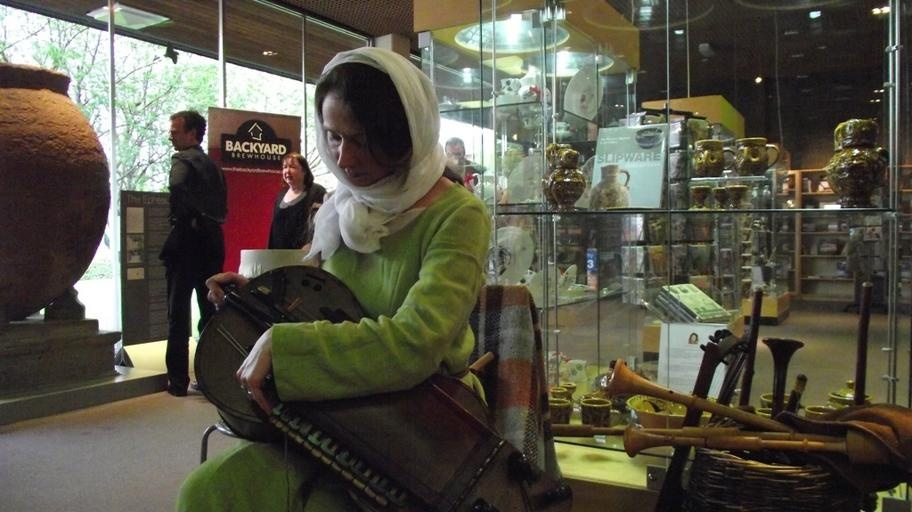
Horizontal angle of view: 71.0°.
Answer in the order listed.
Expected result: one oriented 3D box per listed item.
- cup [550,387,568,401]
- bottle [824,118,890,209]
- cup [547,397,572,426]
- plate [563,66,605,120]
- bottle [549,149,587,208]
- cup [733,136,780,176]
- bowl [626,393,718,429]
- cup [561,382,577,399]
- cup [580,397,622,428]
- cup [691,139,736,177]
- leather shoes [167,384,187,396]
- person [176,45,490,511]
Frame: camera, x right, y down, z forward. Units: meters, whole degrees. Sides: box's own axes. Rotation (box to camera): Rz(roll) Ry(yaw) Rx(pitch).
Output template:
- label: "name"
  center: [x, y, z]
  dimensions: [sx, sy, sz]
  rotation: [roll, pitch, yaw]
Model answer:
- label: "cup"
  center: [0.605, 0.788, 3.687]
  dimensions: [0.079, 0.055, 0.076]
  rotation: [1, -4, 0]
- label: "bottle"
  center: [1.984, -0.448, 3.168]
  dimensions: [0.252, 0.403, 0.283]
  rotation: [1, -1, -39]
- label: "cup"
  center: [0.597, 0.865, 3.668]
  dimensions: [0.170, 0.167, 0.246]
  rotation: [0, -2, -1]
- label: "plate"
  center: [0.769, -0.963, 3.783]
  dimensions: [0.073, 0.296, 0.305]
  rotation: [15, 44, 23]
- label: "bottle"
  center: [0.643, -0.441, 3.647]
  dimensions: [0.201, 0.345, 0.106]
  rotation: [-4, 12, -14]
- label: "cup"
  center: [1.571, -0.512, 3.321]
  dimensions: [0.274, 0.192, 0.194]
  rotation: [-4, 5, 12]
- label: "bowl"
  center: [1.097, 0.819, 3.323]
  dimensions: [0.334, 0.107, 0.320]
  rotation: [-3, 1, 0]
- label: "cup"
  center: [0.664, 0.788, 3.745]
  dimensions: [0.083, 0.084, 0.080]
  rotation: [0, -4, 0]
- label: "cup"
  center: [0.792, 0.862, 3.524]
  dimensions: [0.141, 0.119, 0.174]
  rotation: [0, -7, 3]
- label: "cup"
  center: [1.381, -0.495, 3.385]
  dimensions: [0.251, 0.178, 0.170]
  rotation: [9, -3, -27]
- label: "leather shoes"
  center: [-2.208, 1.069, 5.114]
  dimensions: [0.179, 0.119, 0.063]
  rotation: [-3, -4, 31]
- label: "person"
  center: [-0.428, 0.064, 2.428]
  dimensions: [1.111, 1.687, 0.661]
  rotation: [0, 11, 3]
